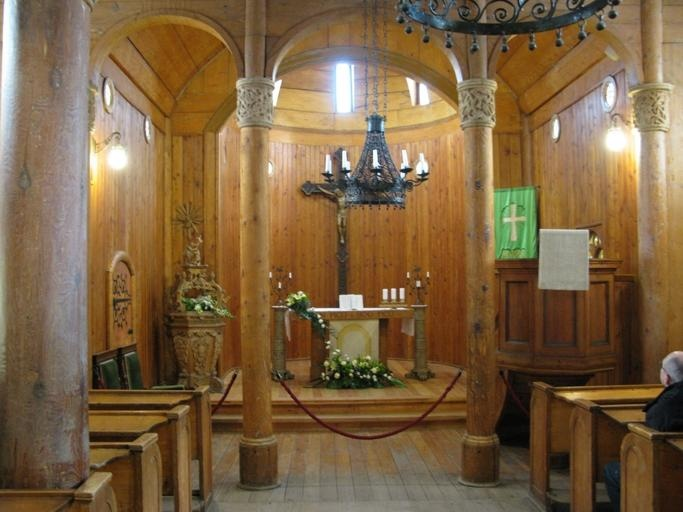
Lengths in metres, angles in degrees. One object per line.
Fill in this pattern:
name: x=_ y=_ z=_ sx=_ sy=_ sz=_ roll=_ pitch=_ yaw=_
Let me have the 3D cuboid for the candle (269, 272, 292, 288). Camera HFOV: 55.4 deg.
candle: x=-1.024 y=0.367 z=11.025 sx=0.337 sy=0.373 sz=0.340 roll=1 pitch=-11 yaw=-3

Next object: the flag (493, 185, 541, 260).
flag: x=2.418 y=-0.452 z=8.944 sx=0.935 sy=1.308 sz=0.102 roll=0 pitch=1 yaw=10

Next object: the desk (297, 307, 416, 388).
desk: x=0.142 y=1.641 z=9.522 sx=1.663 sy=1.255 sz=0.945 roll=1 pitch=-7 yaw=-7

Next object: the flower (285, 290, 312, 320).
flower: x=-0.622 y=0.689 z=9.295 sx=0.367 sy=0.342 sz=0.349 roll=7 pitch=-1 yaw=-5

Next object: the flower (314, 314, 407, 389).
flower: x=0.226 y=1.586 z=9.351 sx=1.541 sy=1.162 sz=0.873 roll=1 pitch=-3 yaw=-4

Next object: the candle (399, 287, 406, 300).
candle: x=1.007 y=0.634 z=10.800 sx=0.135 sy=0.284 sz=0.269 roll=0 pitch=-1 yaw=9

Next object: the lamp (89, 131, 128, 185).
lamp: x=-2.537 y=-1.077 z=7.028 sx=0.400 sy=0.580 sz=0.196 roll=-6 pitch=-9 yaw=5

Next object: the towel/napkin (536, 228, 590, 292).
towel/napkin: x=2.186 y=0.024 z=6.436 sx=0.495 sy=0.592 sz=0.138 roll=-2 pitch=3 yaw=6

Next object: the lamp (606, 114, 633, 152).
lamp: x=3.116 y=-1.424 z=7.434 sx=0.249 sy=0.442 sz=0.518 roll=-2 pitch=7 yaw=-5
